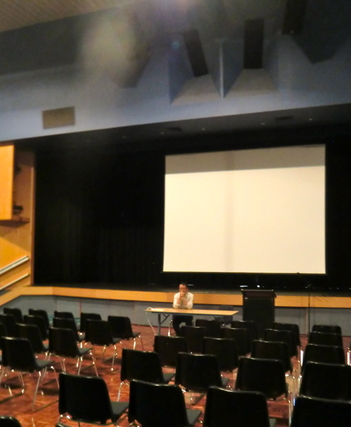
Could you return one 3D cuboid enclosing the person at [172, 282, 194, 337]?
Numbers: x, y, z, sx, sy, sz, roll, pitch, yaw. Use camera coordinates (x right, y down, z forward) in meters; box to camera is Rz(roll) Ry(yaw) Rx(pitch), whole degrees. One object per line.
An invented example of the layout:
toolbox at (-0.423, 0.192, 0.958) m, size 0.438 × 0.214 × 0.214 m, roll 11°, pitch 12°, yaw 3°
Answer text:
person at (0.135, 1.767, 6.984) m, size 0.328 × 1.052 × 0.492 m, roll -1°, pitch -1°, yaw 3°
